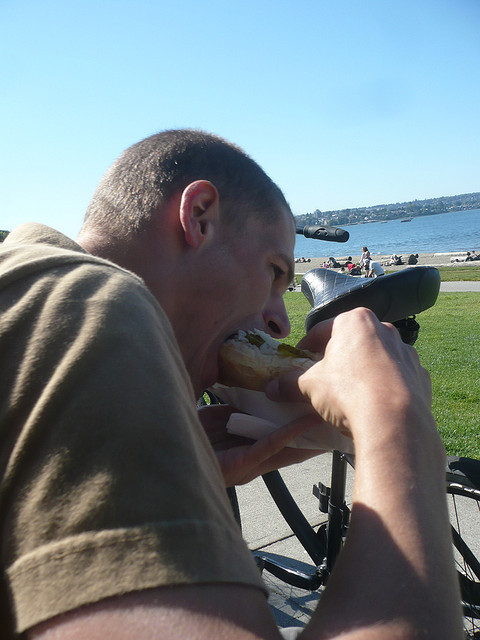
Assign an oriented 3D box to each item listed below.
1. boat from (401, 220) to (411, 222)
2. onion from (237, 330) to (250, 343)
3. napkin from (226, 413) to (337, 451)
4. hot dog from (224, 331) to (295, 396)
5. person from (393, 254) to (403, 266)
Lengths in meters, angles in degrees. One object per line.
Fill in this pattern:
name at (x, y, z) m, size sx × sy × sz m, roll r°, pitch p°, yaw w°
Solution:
boat at (62.350, -37.129, 217.175) m, size 2.671 × 0.561 × 2.461 m, roll -4°, pitch 4°, yaw -8°
onion at (0.010, 0.051, 1.757) m, size 0.025 × 0.038 × 0.016 m, roll 1°, pitch -25°, yaw -41°
napkin at (0.093, 0.350, 1.827) m, size 0.203 × 0.070 × 0.188 m, roll 21°, pitch -5°, yaw -16°
hot dog at (0.077, 0.130, 1.728) m, size 0.185 × 0.075 × 0.183 m, roll 32°, pitch 7°, yaw 37°
person at (10.582, -3.997, 38.674) m, size 0.792 × 0.693 × 0.662 m, roll -2°, pitch 14°, yaw 0°
